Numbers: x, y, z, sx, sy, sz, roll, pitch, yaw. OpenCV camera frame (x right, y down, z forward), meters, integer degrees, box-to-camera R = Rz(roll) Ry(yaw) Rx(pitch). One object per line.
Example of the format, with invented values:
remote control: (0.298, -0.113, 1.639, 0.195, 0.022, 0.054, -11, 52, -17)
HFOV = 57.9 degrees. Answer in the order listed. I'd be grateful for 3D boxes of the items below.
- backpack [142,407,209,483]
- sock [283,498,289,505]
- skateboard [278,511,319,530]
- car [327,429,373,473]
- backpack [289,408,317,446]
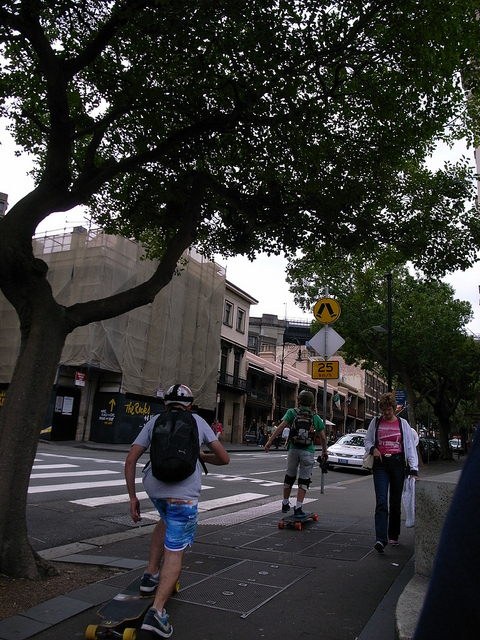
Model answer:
backpack: (-0.506, 1.023, 3.442, 0.443, 0.657, 0.417, -6, -47, -2)
sock: (0.802, 3.187, 7.671, 0.089, 0.088, 0.177, 4, -11, 7)
skateboard: (0.925, 3.232, 7.046, 0.411, 0.141, 0.881, 0, -12, 26)
car: (4.655, 5.789, 18.981, 1.462, 1.632, 2.810, 2, -11, 16)
backpack: (1.091, 1.864, 7.575, 0.505, 0.782, 0.428, 3, -30, 3)
